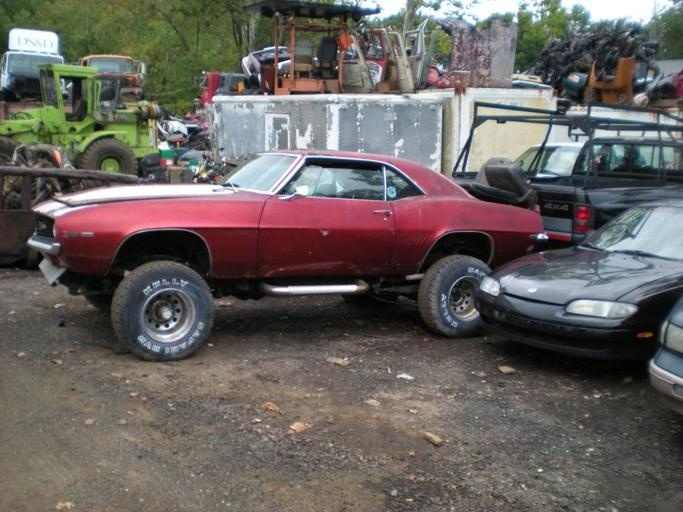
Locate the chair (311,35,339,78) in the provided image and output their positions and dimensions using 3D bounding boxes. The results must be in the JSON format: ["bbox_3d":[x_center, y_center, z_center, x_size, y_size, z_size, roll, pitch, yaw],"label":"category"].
[{"bbox_3d":[-0.397,-5.410,15.890,0.604,1.146,0.485,1,12,-5],"label":"chair"}]

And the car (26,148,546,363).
[{"bbox_3d":[-0.428,-0.195,6.747,4.889,1.600,2.400,0,4,-17],"label":"car"}]

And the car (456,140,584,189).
[{"bbox_3d":[3.073,-1.733,10.502,2.437,1.061,1.310,0,7,-7],"label":"car"}]

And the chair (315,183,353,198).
[{"bbox_3d":[-0.093,-0.697,6.359,0.321,0.111,0.178,0,4,-17],"label":"chair"}]
